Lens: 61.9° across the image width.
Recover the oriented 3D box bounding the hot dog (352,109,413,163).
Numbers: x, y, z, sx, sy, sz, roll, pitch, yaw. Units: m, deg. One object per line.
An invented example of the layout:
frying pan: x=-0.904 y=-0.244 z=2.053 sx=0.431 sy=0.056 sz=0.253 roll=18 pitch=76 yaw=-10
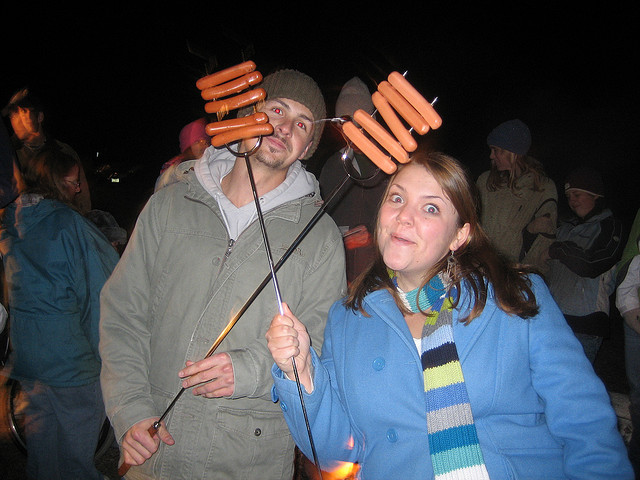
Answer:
hot dog: x=0.499 y=-0.834 z=4.205 sx=0.156 sy=0.695 sz=0.193 roll=-37 pitch=-10 yaw=-7

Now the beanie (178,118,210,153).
beanie: x=-1.920 y=-1.614 z=8.154 sx=0.532 sy=0.544 sz=0.448 roll=2 pitch=6 yaw=26

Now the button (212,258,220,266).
button: x=-0.817 y=0.166 z=4.195 sx=0.045 sy=0.059 sz=0.012 roll=-1 pitch=-9 yaw=0

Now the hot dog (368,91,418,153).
hot dog: x=0.604 y=-0.952 z=4.309 sx=0.168 sy=0.196 sz=0.743 roll=-25 pitch=33 yaw=8

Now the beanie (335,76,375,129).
beanie: x=0.367 y=-1.547 z=5.775 sx=0.392 sy=0.875 sz=0.454 roll=-6 pitch=8 yaw=-3

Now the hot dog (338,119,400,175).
hot dog: x=0.412 y=-0.785 z=4.397 sx=0.194 sy=0.706 sz=0.180 roll=-24 pitch=-21 yaw=-35

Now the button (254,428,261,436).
button: x=-0.480 y=1.477 z=4.075 sx=0.041 sy=0.053 sz=0.011 roll=-6 pitch=-8 yaw=-15
